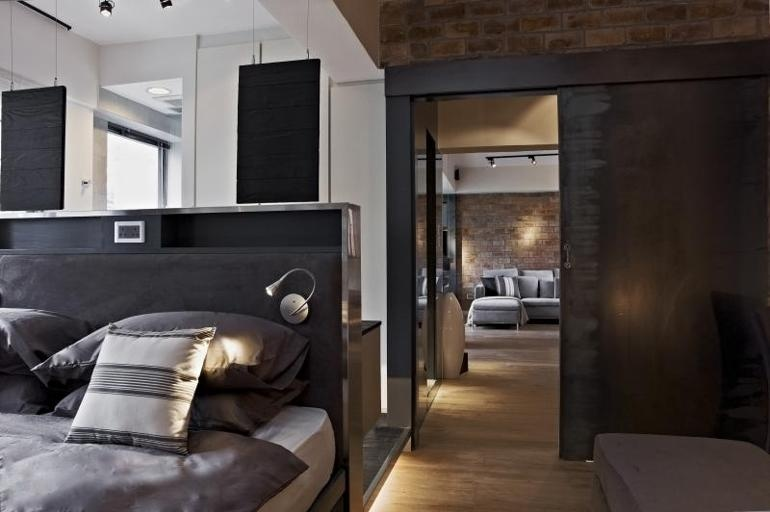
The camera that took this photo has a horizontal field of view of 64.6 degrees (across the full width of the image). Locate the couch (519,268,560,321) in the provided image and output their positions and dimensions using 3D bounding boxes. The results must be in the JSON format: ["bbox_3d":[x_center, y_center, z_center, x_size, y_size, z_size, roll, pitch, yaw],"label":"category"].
[{"bbox_3d":[2.699,0.601,10.231,0.926,0.900,0.982,-1,-11,8],"label":"couch"}]

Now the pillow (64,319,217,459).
[{"bbox_3d":[-1.208,0.634,3.012,0.607,0.596,0.186,-2,-27,15],"label":"pillow"}]

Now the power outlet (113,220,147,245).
[{"bbox_3d":[-1.557,-0.144,3.715,0.149,0.112,0.015,0,-2,8],"label":"power outlet"}]

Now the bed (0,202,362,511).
[{"bbox_3d":[-1.022,0.569,3.280,1.717,1.539,0.201,-2,-6,6],"label":"bed"}]

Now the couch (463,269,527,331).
[{"bbox_3d":[1.822,0.754,9.906,0.952,0.720,1.051,0,7,10],"label":"couch"}]
